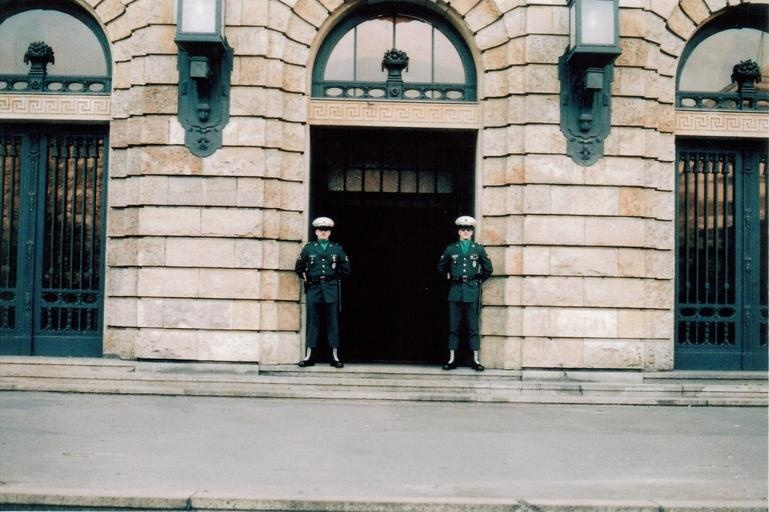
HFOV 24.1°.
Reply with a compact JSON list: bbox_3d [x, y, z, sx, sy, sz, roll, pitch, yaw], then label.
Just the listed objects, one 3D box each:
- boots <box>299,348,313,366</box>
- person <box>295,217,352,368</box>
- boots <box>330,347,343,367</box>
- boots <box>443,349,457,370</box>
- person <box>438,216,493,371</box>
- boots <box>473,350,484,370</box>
[{"bbox_3d":[-1.429,1.868,33.245,0.285,0.356,0.481,0,-6,-1],"label":"boots"},{"bbox_3d":[-1.160,0.674,33.422,1.003,2.781,0.636,1,-6,-6],"label":"person"},{"bbox_3d":[-0.861,1.884,33.487,0.251,0.388,0.757,1,-6,-2],"label":"boots"},{"bbox_3d":[1.231,1.932,33.387,0.251,0.390,0.713,0,-6,2],"label":"boots"},{"bbox_3d":[1.546,0.688,33.361,1.009,2.855,0.631,-2,-6,25],"label":"person"},{"bbox_3d":[1.760,1.935,33.226,0.210,0.378,0.315,0,-6,4],"label":"boots"}]
